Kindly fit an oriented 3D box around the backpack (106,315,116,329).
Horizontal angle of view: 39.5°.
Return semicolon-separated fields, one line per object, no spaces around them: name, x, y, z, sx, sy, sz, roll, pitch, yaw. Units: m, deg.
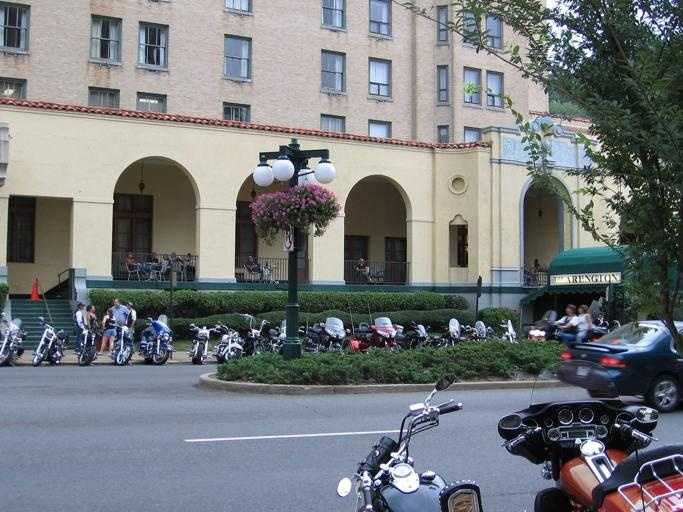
backpack;-7.084;2.006;29.369;0.342;0.523;0.514;0;-10;-11

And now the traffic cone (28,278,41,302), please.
traffic cone;-11.714;1.287;36.585;0.583;0.891;0.608;4;-11;-23

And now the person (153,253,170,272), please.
person;-6.829;0.240;36.273;0.529;0.628;1.073;-1;-10;1
